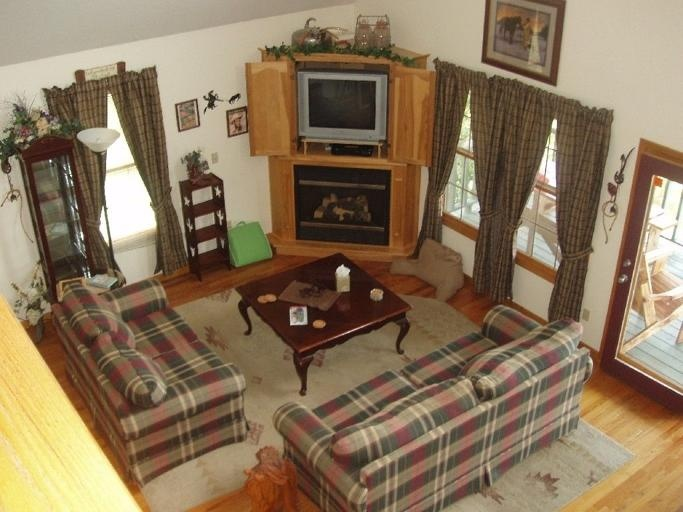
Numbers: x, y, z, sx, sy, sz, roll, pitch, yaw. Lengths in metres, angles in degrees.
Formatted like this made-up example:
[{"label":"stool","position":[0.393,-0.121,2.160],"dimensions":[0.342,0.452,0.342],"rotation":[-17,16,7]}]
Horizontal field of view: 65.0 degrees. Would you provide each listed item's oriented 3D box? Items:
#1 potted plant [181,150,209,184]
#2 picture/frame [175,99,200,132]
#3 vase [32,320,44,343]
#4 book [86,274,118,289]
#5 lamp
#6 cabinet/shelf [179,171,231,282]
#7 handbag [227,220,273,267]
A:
[{"label":"potted plant","position":[-1.828,-1.187,7.010],"dimensions":[0.310,0.378,0.394],"rotation":[5,14,39]},{"label":"picture/frame","position":[-1.952,-1.791,6.750],"dimensions":[0.327,0.374,0.028],"rotation":[-24,36,-39]},{"label":"vase","position":[-3.482,0.839,6.150],"dimensions":[0.106,0.282,0.209],"rotation":[3,6,-29]},{"label":"book","position":[-2.687,0.278,6.054],"dimensions":[0.205,0.050,0.199],"rotation":[15,24,24]},{"label":"lamp","position":[-2.742,-0.619,6.047],"dimensions":[0.473,1.649,1.047],"rotation":[4,6,-22]},{"label":"cabinet/shelf","position":[-1.852,-0.399,7.175],"dimensions":[0.564,1.419,0.762],"rotation":[10,6,33]},{"label":"handbag","position":[-1.294,-0.162,7.419],"dimensions":[0.585,0.586,0.211],"rotation":[-18,1,-31]}]
